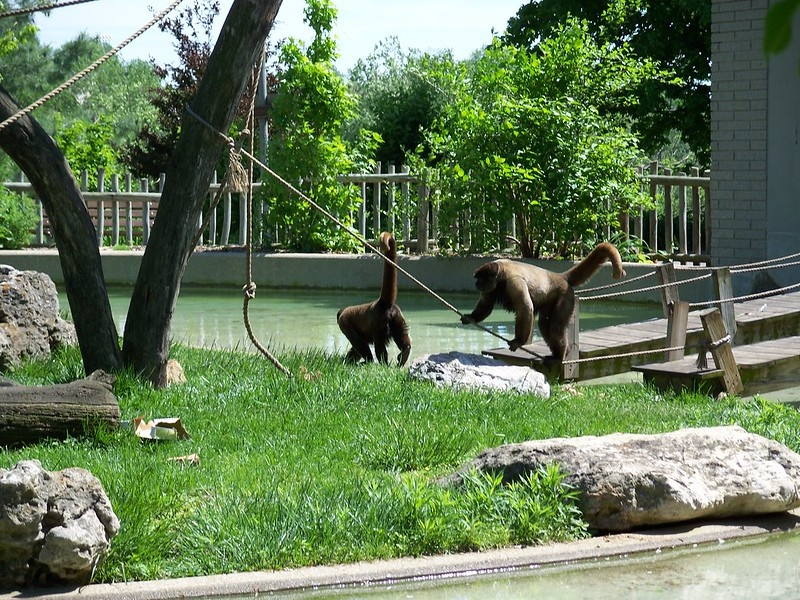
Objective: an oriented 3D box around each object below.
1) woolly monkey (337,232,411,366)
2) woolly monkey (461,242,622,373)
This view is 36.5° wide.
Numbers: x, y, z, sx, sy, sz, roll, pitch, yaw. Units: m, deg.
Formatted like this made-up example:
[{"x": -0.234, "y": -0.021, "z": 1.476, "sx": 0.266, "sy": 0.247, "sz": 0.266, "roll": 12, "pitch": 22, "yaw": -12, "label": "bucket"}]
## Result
[{"x": -0.206, "y": 0.134, "z": 12.530, "sx": 0.540, "sy": 1.126, "sz": 0.936, "roll": -1, "pitch": 0, "yaw": -39, "label": "woolly monkey"}, {"x": 1.432, "y": 0.001, "z": 11.812, "sx": 1.509, "sy": 1.361, "sz": 0.528, "roll": 7, "pitch": 1, "yaw": -9, "label": "woolly monkey"}]
